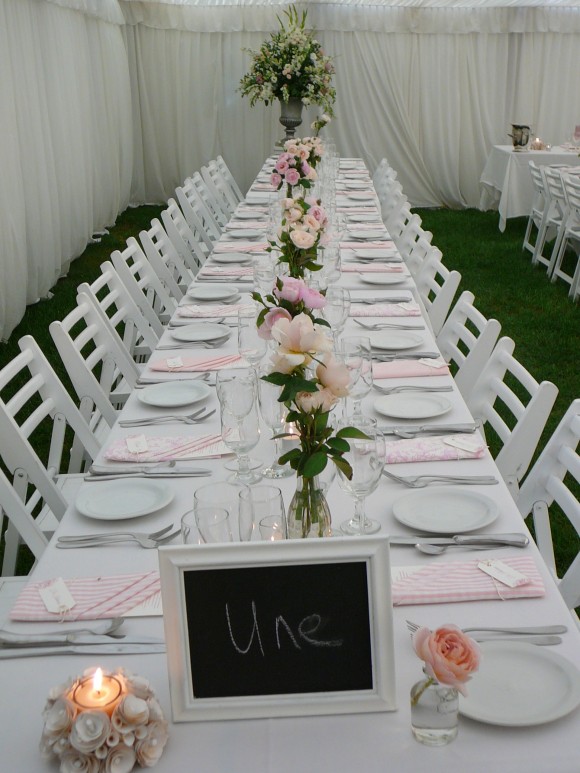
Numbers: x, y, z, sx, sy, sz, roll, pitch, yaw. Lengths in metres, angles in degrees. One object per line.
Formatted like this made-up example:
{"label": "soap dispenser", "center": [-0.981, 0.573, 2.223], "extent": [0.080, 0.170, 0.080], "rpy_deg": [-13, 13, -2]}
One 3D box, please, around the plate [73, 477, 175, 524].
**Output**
{"label": "plate", "center": [-0.370, 0.249, 1.308], "extent": [0.234, 0.049, 0.172], "rpy_deg": [1, 29, 3]}

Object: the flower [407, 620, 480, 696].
{"label": "flower", "center": [0.154, 0.277, 0.587], "extent": [0.048, 0.073, 0.060], "rpy_deg": [-19, 33, -32]}

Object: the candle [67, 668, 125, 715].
{"label": "candle", "center": [-0.214, 0.326, 0.640], "extent": [0.037, 0.021, 0.038], "rpy_deg": [21, 42, 28]}

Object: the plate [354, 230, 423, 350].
{"label": "plate", "center": [0.498, -0.503, 3.019], "extent": [0.365, 0.093, 1.141], "rpy_deg": [-2, 31, 4]}

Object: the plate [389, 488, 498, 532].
{"label": "plate", "center": [0.320, 0.255, 1.215], "extent": [0.215, 0.054, 0.177], "rpy_deg": [3, 29, 7]}

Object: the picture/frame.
{"label": "picture/frame", "center": [-0.010, 0.285, 0.693], "extent": [0.266, 0.238, 0.020], "rpy_deg": [-3, 15, 1]}

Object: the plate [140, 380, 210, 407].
{"label": "plate", "center": [-0.371, 0.022, 1.876], "extent": [0.232, 0.034, 0.173], "rpy_deg": [2, 29, 4]}

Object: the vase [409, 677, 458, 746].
{"label": "vase", "center": [0.160, 0.352, 0.653], "extent": [0.047, 0.080, 0.045], "rpy_deg": [-3, 1, 2]}
